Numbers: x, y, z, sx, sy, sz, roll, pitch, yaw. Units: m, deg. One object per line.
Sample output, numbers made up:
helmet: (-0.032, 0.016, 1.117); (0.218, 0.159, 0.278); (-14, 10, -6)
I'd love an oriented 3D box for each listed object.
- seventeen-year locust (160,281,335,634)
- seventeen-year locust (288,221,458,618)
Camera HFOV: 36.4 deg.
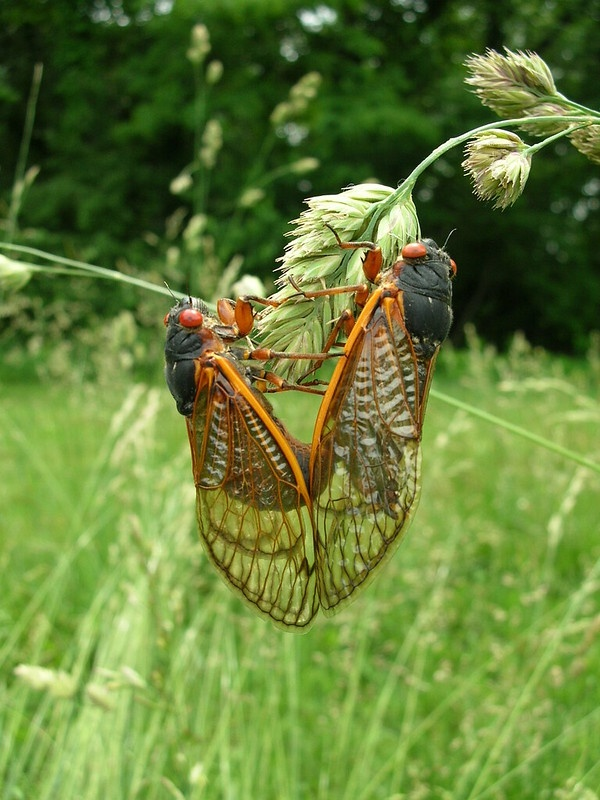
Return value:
seventeen-year locust: (-0.079, 0.142, 2.403); (0.266, 0.746, 0.596); (-15, 10, -40)
seventeen-year locust: (0.201, 0.069, 2.269); (0.305, 0.947, 0.198); (22, 15, 6)
